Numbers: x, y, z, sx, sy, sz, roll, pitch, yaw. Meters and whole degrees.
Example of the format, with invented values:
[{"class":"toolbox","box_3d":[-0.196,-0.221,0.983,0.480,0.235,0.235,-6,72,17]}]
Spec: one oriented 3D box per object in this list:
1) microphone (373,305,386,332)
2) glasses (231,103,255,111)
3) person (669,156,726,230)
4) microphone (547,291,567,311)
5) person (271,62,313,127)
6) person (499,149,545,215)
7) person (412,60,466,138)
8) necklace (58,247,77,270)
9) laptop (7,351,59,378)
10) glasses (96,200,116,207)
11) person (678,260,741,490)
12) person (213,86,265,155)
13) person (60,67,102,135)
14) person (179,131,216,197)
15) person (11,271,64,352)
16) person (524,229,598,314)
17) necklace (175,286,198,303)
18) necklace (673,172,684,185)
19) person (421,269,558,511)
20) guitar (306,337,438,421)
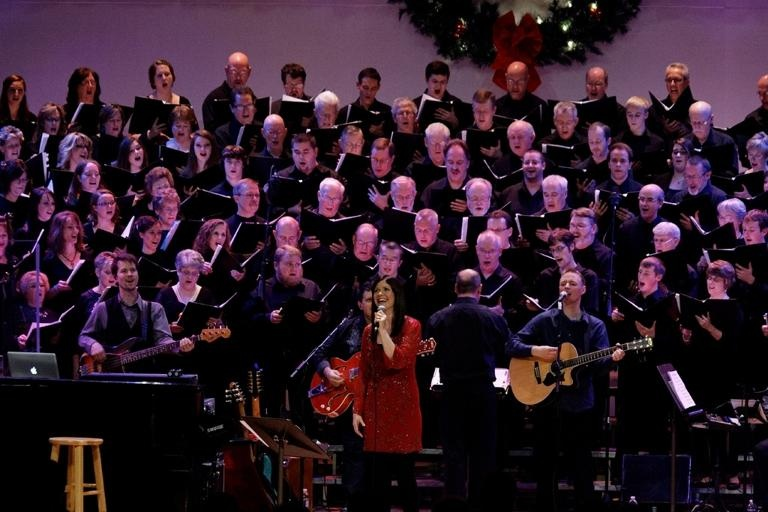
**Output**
[{"class":"microphone","box_3d":[-0.037,0.456,6.829,0.108,0.202,0.137,-2,-16,-1]},{"class":"glasses","box_3d":[-1.545,-1.619,10.192,0.229,0.089,0.094,-1,-16,-4]},{"class":"person","box_3d":[3.144,-0.609,9.272,0.499,0.809,0.441,-7,-17,18]},{"class":"microphone","box_3d":[1.491,0.374,7.899,0.070,0.089,0.250,0,29,35]},{"class":"person","box_3d":[-1.010,-1.789,10.626,0.373,0.979,0.727,0,-16,-7]},{"class":"person","box_3d":[1.427,-0.728,9.553,0.699,0.700,0.395,4,-13,6]},{"class":"person","box_3d":[0.675,-1.746,10.459,0.679,0.313,0.885,2,-32,-5]},{"class":"necklace","box_3d":[-3.056,0.024,9.061,0.153,0.199,0.058,3,3,-11]},{"class":"laptop","box_3d":[-2.701,0.851,7.217,0.445,0.249,0.133,-5,-16,11]},{"class":"glasses","box_3d":[-2.773,-0.524,9.295,0.158,0.059,0.047,3,-17,-16]},{"class":"person","box_3d":[2.966,1.017,8.343,0.547,1.984,0.471,-7,-17,19]},{"class":"person","box_3d":[-1.578,-1.458,10.164,0.550,0.704,0.229,-4,-7,31]},{"class":"person","box_3d":[-3.446,-1.796,10.733,0.518,0.699,0.526,11,11,33]},{"class":"person","box_3d":[-1.940,-0.964,9.732,0.416,0.688,0.246,0,-16,-5]},{"class":"person","box_3d":[-3.208,0.485,8.676,0.381,0.770,0.419,7,-18,-29]},{"class":"person","box_3d":[1.680,0.209,8.794,0.798,0.924,0.674,-4,-10,34]},{"class":"necklace","box_3d":[-1.829,0.366,8.601,0.139,0.173,0.063,1,7,0]},{"class":"necklace","box_3d":[3.040,-0.793,9.625,0.092,0.086,0.022,-5,-9,42]},{"class":"person","box_3d":[0.695,1.011,7.575,0.579,1.765,0.405,-11,-18,29]},{"class":"guitar","box_3d":[-0.131,1.007,7.809,1.284,0.487,0.176,-25,-21,24]}]
